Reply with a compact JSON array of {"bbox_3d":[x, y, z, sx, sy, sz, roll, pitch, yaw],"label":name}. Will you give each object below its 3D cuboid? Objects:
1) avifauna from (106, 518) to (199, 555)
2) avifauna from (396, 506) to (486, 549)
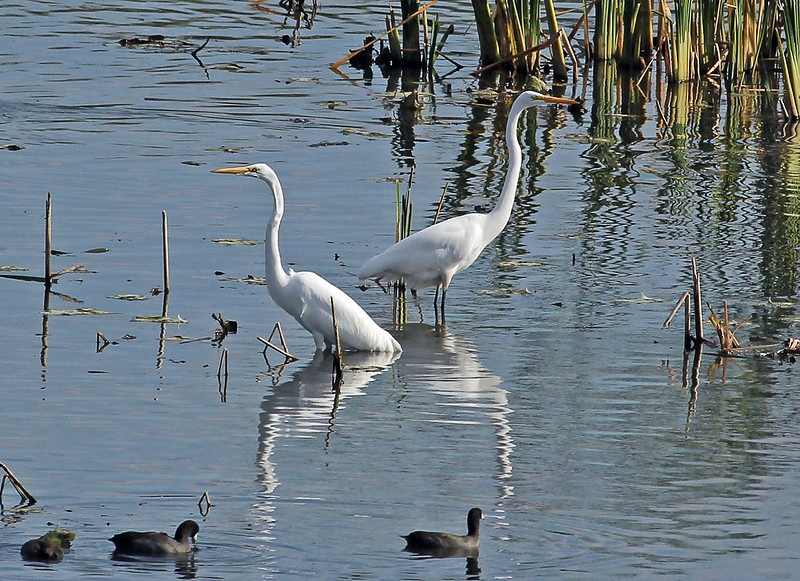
[{"bbox_3d":[-1.735,1.721,8.968,0.603,0.241,0.230,3,4,-6],"label":"avifauna"},{"bbox_3d":[0.347,1.705,9.077,0.643,0.288,0.210,-6,4,20],"label":"avifauna"}]
